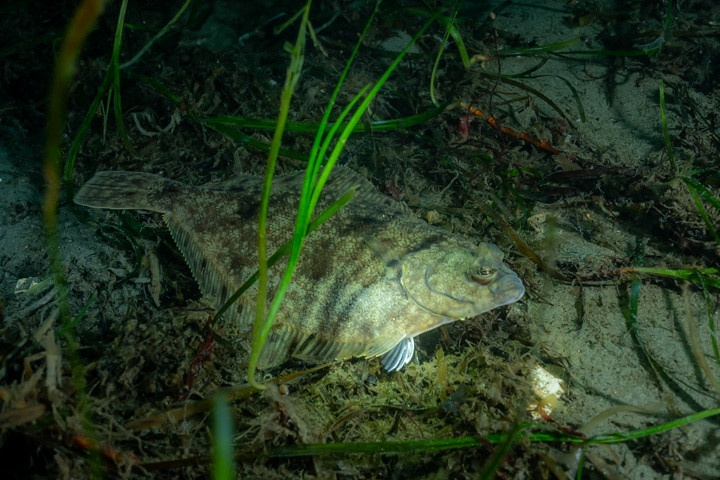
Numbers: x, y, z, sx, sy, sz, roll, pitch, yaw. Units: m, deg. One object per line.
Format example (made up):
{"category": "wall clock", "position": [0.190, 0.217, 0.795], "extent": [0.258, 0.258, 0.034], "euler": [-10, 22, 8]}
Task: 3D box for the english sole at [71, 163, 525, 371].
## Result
{"category": "english sole", "position": [-0.484, 0.209, 5.499], "extent": [3.513, 0.977, 1.634], "euler": [11, 104, -3]}
